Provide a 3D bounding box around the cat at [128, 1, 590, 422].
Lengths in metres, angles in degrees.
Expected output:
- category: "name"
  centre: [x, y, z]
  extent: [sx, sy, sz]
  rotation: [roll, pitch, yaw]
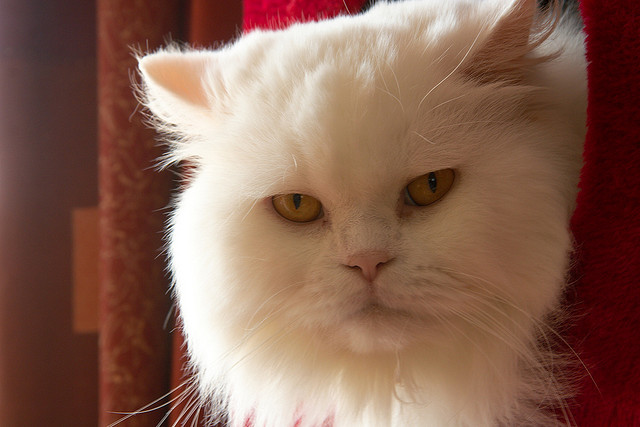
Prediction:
- category: "cat"
  centre: [0.135, 0.090, 1.711]
  extent: [0.653, 0.737, 0.904]
  rotation: [-6, -16, 6]
